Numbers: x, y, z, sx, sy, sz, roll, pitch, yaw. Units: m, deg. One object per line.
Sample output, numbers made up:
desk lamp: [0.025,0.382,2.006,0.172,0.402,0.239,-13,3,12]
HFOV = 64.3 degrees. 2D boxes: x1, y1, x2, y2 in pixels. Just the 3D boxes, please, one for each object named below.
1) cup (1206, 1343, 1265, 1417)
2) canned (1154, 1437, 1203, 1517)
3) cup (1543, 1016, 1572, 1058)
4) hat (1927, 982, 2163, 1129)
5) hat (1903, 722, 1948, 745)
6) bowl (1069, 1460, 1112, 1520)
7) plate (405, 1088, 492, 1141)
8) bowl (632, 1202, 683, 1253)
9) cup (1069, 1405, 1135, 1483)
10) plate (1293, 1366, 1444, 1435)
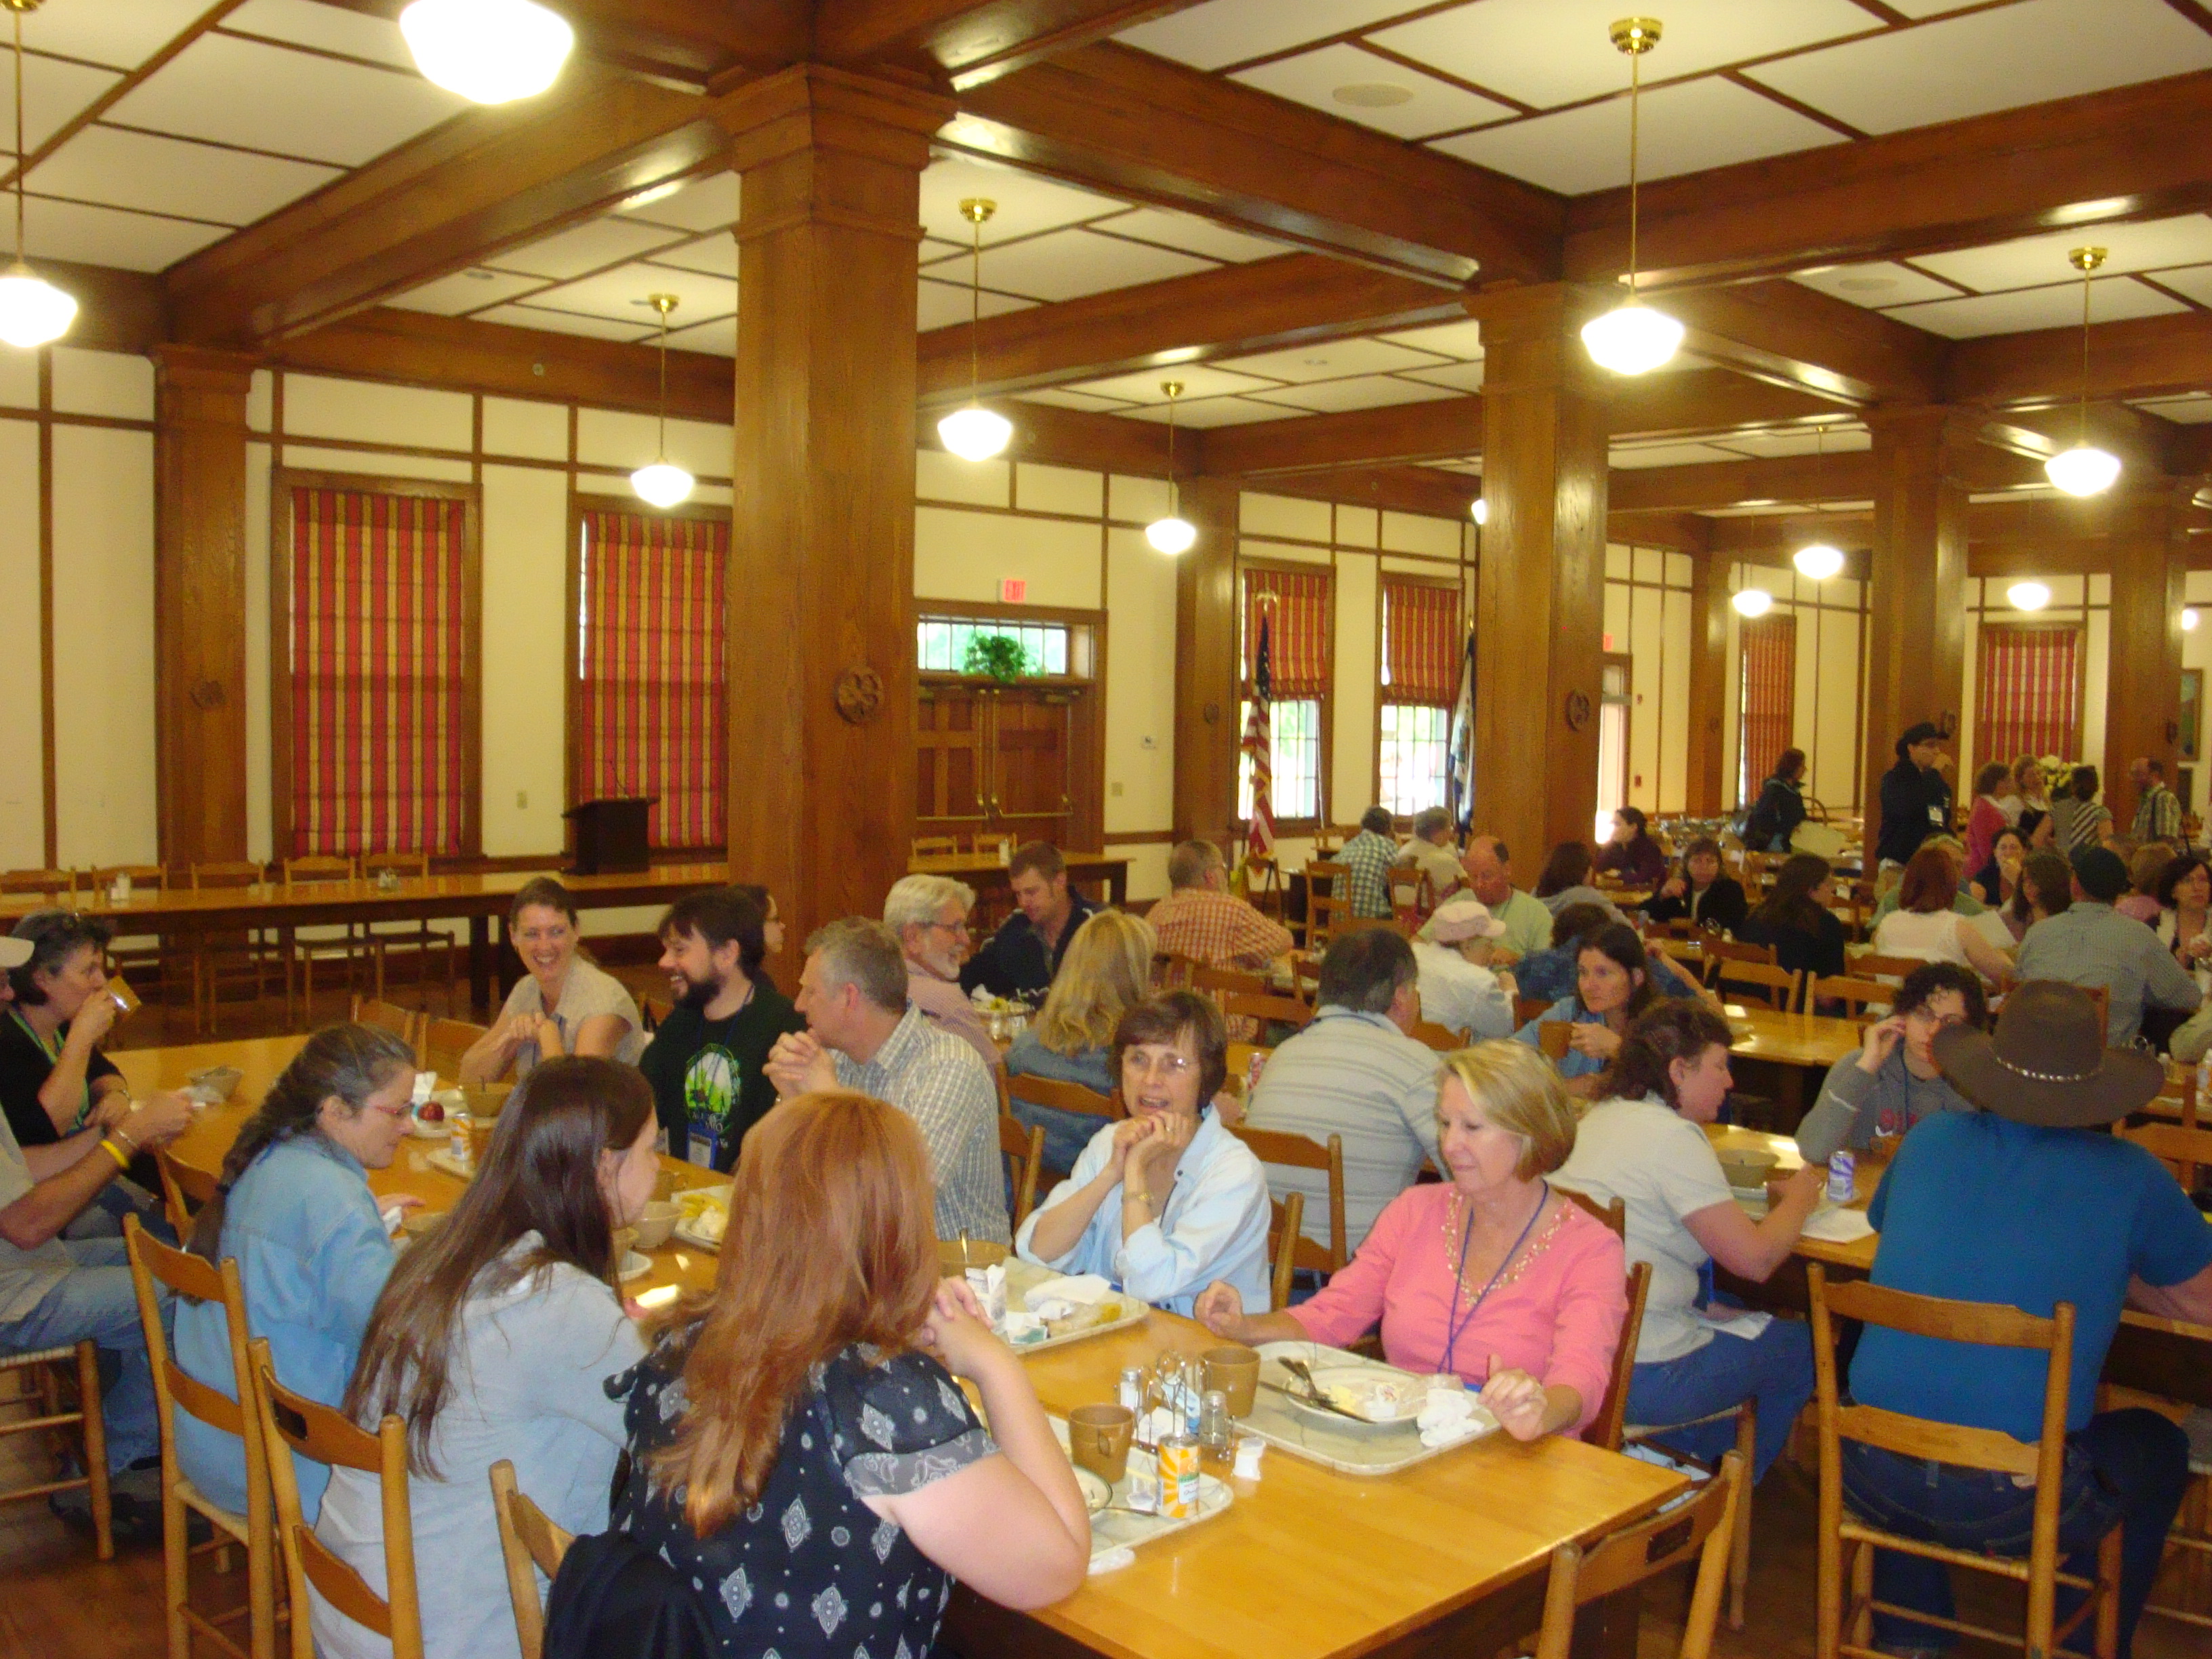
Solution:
cup: [0.236,1.007,3.237,0.093,0.109,0.111,-1,-3,-1]
canned: [0.125,1.096,2.998,0.086,0.138,0.086,0,-3,3]
cup: [1.421,0.648,5.524,0.084,0.089,0.087,1,-2,0]
hat: [2.105,0.470,3.944,0.440,0.187,0.456,10,17,5]
hat: [5.336,-0.636,11.450,0.174,0.196,0.150,7,-1,44]
bowl: [-0.019,1.121,3.005,0.060,0.060,0.120,-2,1,-9]
plate: [-1.920,0.838,5.201,0.187,0.078,0.194,2,-5,24]
bowl: [-1.065,0.933,4.188,0.105,0.065,0.177,-2,1,1]
cup: [-0.007,1.042,3.016,0.104,0.124,0.116,-1,-4,-13]
plate: [0.479,1.072,3.358,0.279,0.063,0.216,-2,1,6]
